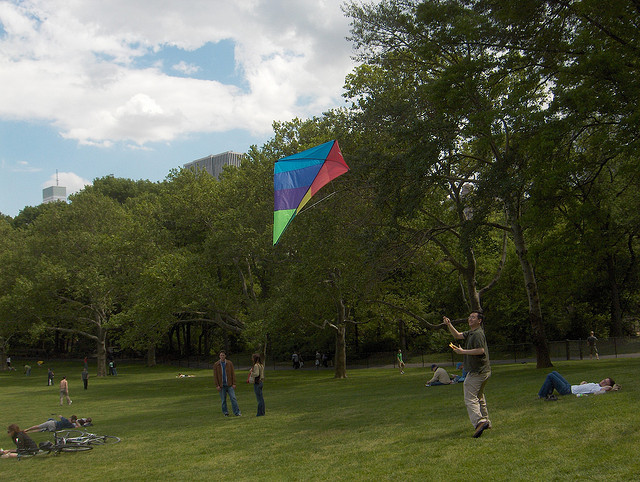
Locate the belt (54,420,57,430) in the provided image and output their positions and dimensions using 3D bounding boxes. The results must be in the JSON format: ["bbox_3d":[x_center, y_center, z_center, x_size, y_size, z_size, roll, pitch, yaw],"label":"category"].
[{"bbox_3d":[-9.515,6.638,21.507,0.059,0.289,0.076,-7,3,6],"label":"belt"}]

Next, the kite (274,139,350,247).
[{"bbox_3d":[-0.460,-1.911,18.858,1.811,3.787,1.635,7,-4,-28],"label":"kite"}]

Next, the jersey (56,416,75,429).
[{"bbox_3d":[-9.274,6.645,21.774,0.569,0.399,0.408,-5,-10,10],"label":"jersey"}]

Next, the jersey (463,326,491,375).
[{"bbox_3d":[3.698,2.620,14.295,0.572,1.120,0.648,-5,-10,12],"label":"jersey"}]

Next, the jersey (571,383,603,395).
[{"bbox_3d":[7.800,4.346,17.581,0.861,0.264,0.707,1,3,2],"label":"jersey"}]
